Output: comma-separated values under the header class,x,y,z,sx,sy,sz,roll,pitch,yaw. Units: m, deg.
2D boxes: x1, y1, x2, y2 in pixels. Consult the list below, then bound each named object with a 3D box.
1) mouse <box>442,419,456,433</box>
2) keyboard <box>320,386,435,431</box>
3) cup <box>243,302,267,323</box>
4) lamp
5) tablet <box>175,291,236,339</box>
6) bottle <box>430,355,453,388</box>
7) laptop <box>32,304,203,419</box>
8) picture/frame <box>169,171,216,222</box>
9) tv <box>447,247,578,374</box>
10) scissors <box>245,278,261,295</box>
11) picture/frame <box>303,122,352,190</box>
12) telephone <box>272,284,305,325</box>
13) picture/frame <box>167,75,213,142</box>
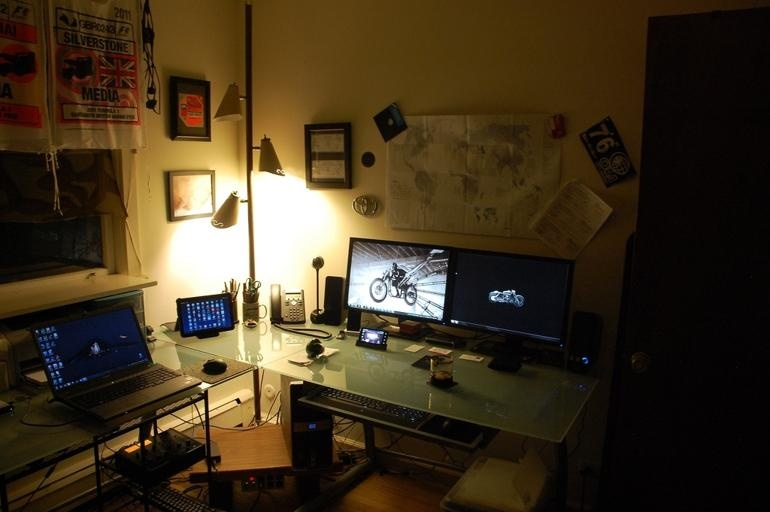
class,x,y,z,sx,sy,sz,roll,pitch,yaw
mouse,0.294,0.782,2.666,0.051,0.030,0.071,4,6,15
keyboard,-0.081,0.746,2.827,0.631,0.062,0.158,5,7,28
cup,-0.850,0.355,3.719,0.152,0.106,0.096,0,3,-9
lamp,-0.883,-0.681,3.749,0.437,1.741,0.571,1,6,-9
tablet,-1.083,0.365,3.441,0.261,0.196,0.066,-4,0,-28
bottle,0.283,0.578,2.893,0.139,0.146,0.132,-1,1,39
laptop,-1.340,0.524,2.765,0.551,0.365,0.519,13,19,29
picture/frame,-1.268,-0.390,3.689,0.032,0.277,0.324,4,10,31
tv,0.725,0.290,3.143,0.594,0.556,0.305,7,10,29
scissors,-0.856,0.202,3.718,0.108,0.116,0.108,-1,21,-27
picture/frame,-0.363,-0.658,3.687,0.426,0.494,0.045,4,10,24
telephone,-0.626,0.313,3.692,0.191,0.254,0.109,-1,-7,0
picture/frame,-1.255,-0.940,3.619,0.038,0.530,0.432,6,8,31
